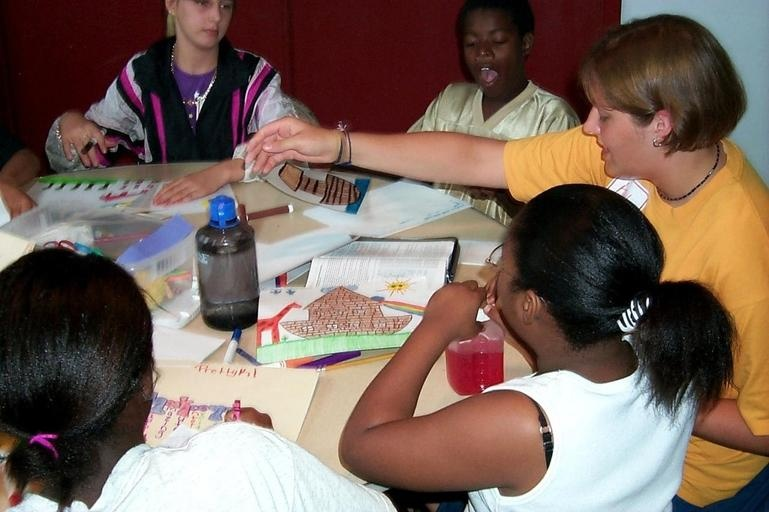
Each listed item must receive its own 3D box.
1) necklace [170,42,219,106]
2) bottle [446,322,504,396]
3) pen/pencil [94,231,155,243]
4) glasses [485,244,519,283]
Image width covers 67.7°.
[{"bbox_3d":[-0.811,-0.789,2.472,0.180,0.173,0.255,6,30,-12],"label":"necklace"},{"bbox_3d":[0.189,0.225,1.244,0.145,0.148,0.084,-7,0,-4],"label":"bottle"},{"bbox_3d":[-0.679,-0.049,1.485,0.120,0.018,0.020,-5,11,-10],"label":"pen/pencil"},{"bbox_3d":[0.247,0.018,1.213,0.023,0.072,0.070,28,1,-13],"label":"glasses"}]
